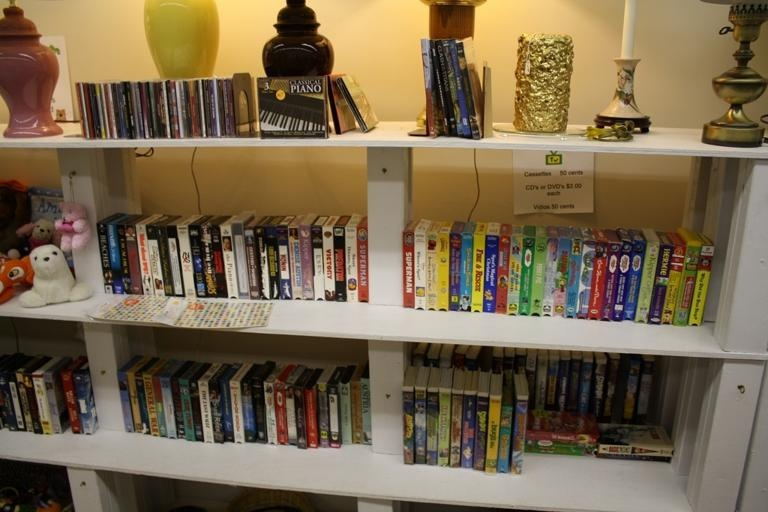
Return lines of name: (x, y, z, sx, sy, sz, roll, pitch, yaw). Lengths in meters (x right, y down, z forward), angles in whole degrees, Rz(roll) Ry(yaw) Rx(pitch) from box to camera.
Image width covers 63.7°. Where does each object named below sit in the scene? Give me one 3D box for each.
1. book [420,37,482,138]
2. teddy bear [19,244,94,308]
book: (0.220, -0.548, 2.039, 0.199, 0.309, 0.330, -8, 5, 17)
teddy bear: (-1.277, 0.074, 2.361, 0.265, 0.221, 0.163, -14, 21, -34)
